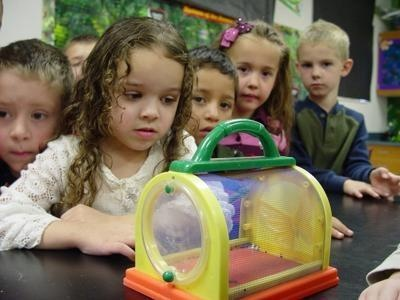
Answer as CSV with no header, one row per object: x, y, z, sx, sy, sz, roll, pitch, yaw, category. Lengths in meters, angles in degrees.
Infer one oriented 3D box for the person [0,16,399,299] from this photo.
-0.015,-0.001,1.235,0.829,0.864,0.199,4,13,-22,person
